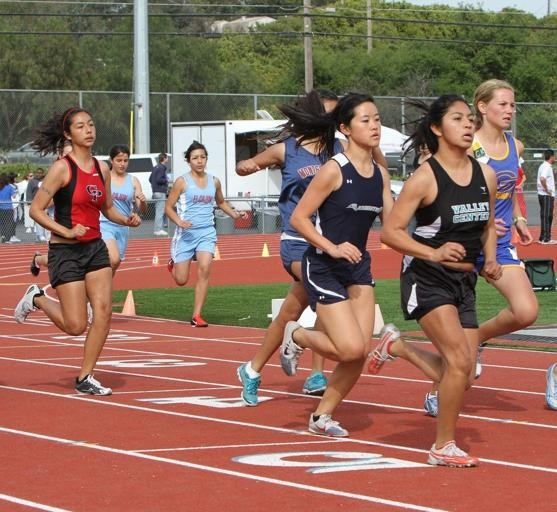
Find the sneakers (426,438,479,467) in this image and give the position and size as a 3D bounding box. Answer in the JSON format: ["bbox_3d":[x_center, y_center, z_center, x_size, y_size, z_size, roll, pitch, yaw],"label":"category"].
[{"bbox_3d":[0.873,1.000,3.725,0.285,0.113,0.111,0,-3,16],"label":"sneakers"}]

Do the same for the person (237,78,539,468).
[{"bbox_3d":[0.677,0.095,4.201,0.761,2.047,1.458,-5,10,-39],"label":"person"}]

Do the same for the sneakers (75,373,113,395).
[{"bbox_3d":[-1.476,1.026,5.847,0.357,0.133,0.123,4,5,14],"label":"sneakers"}]

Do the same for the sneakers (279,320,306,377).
[{"bbox_3d":[0.117,0.594,4.740,0.200,0.347,0.128,2,16,24],"label":"sneakers"}]

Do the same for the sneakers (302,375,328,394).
[{"bbox_3d":[0.285,1.018,5.772,0.113,0.093,0.228,1,-8,-21],"label":"sneakers"}]

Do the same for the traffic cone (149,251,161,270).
[{"bbox_3d":[-3.140,0.140,18.643,0.398,0.435,0.350,-3,5,-39],"label":"traffic cone"}]

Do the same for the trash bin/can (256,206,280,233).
[{"bbox_3d":[-0.230,-1.196,25.302,0.933,1.005,1.123,-2,7,-14],"label":"trash bin/can"}]

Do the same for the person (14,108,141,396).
[{"bbox_3d":[-1.686,-0.031,6.051,0.671,2.329,1.024,0,8,-13],"label":"person"}]

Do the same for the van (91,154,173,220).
[{"bbox_3d":[-6.050,-2.915,28.966,2.233,2.056,4.087,0,9,21],"label":"van"}]

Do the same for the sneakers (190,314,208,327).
[{"bbox_3d":[-1.057,0.880,9.716,0.124,0.102,0.241,-2,0,-35],"label":"sneakers"}]

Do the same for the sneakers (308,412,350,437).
[{"bbox_3d":[0.291,1.043,4.516,0.295,0.112,0.106,7,-5,23],"label":"sneakers"}]

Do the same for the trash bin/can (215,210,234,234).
[{"bbox_3d":[-1.854,-1.125,24.984,1.002,0.913,0.951,-2,3,-7],"label":"trash bin/can"}]
